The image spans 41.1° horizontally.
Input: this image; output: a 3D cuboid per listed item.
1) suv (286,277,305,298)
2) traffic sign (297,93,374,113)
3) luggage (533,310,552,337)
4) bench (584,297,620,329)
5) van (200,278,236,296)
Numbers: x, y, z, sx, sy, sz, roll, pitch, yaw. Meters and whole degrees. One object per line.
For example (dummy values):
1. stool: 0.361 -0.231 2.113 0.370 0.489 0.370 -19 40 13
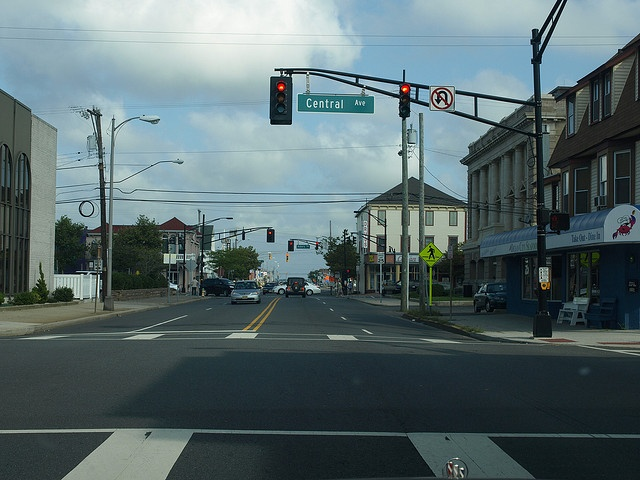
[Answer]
1. suv: -2.035 3.932 70.436 1.530 1.573 2.284 -1 -3 0
2. traffic sign: 0.491 -4.262 26.602 2.322 0.611 0.271 0 -3 -11
3. luggage: 7.024 2.663 26.872 0.745 1.085 0.570 1 -4 -5
4. bench: 10.242 2.662 31.026 0.761 1.076 1.728 -1 -3 3
5. van: -8.827 4.067 73.206 1.849 1.478 3.843 2 -4 -37
